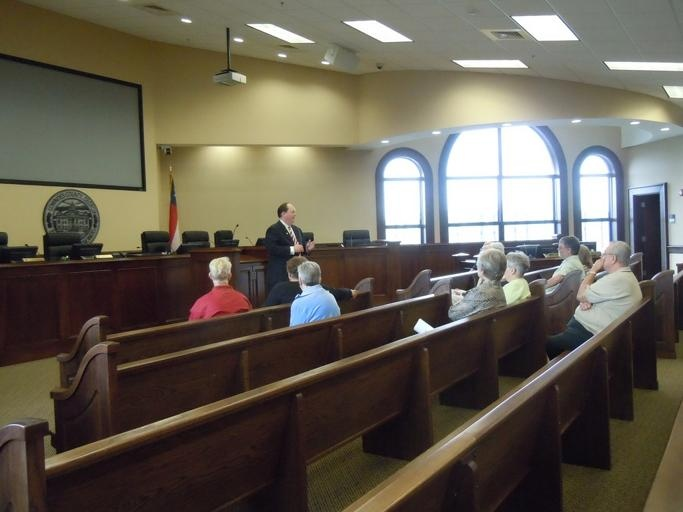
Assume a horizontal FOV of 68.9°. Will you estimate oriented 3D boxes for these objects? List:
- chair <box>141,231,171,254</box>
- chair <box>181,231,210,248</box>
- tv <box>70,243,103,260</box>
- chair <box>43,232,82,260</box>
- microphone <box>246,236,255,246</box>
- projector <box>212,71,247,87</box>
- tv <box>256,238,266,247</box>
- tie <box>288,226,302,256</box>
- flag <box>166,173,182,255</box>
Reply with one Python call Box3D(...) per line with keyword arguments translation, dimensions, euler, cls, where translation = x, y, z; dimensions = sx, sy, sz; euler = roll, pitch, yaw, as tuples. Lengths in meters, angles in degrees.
Box3D(translation=(-3.063, -0.229, 8.176), dimensions=(0.421, 0.333, 0.587), euler=(-3, 7, -22), cls="chair")
Box3D(translation=(-2.574, -0.313, 8.837), dimensions=(0.442, 0.372, 0.423), euler=(0, -4, -27), cls="chair")
Box3D(translation=(-3.351, -0.067, 6.499), dimensions=(0.397, 0.191, 0.323), euler=(-5, 8, -38), cls="tv")
Box3D(translation=(-3.630, -0.115, 6.440), dimensions=(0.147, 0.308, 0.291), euler=(-9, -7, 39), cls="chair")
Box3D(translation=(-2.071, -0.339, 11.061), dimensions=(0.184, 0.187, 0.360), euler=(1, 6, 11), cls="microphone")
Box3D(translation=(-1.874, -3.015, 8.354), dimensions=(0.478, 0.234, 0.335), euler=(3, 7, 29), cls="projector")
Box3D(translation=(-1.359, -0.224, 8.400), dimensions=(0.140, 0.215, 0.194), euler=(-1, -1, 36), cls="tv")
Box3D(translation=(-0.573, -0.201, 6.192), dimensions=(0.108, 0.352, 0.239), euler=(-12, 6, 38), cls="tie")
Box3D(translation=(-3.181, -0.854, 9.435), dimensions=(0.184, 1.439, 2.434), euler=(-2, 6, -17), cls="flag")
